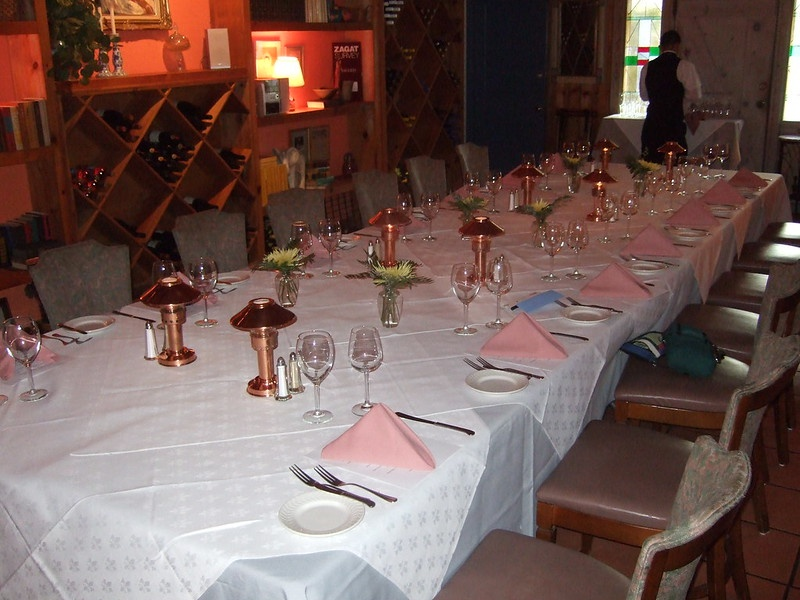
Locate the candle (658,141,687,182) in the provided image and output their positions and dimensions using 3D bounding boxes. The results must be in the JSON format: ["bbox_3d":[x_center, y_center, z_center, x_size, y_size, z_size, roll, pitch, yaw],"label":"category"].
[{"bbox_3d":[2.324,-1.182,4.889,0.218,0.413,0.233,1,-9,25],"label":"candle"}]

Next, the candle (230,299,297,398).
[{"bbox_3d":[-0.488,0.181,2.008,0.216,0.324,0.220,-10,19,-36],"label":"candle"}]

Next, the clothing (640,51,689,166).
[{"bbox_3d":[3.214,-2.284,6.953,0.493,1.953,0.465,3,-17,30],"label":"clothing"}]

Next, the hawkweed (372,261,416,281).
[{"bbox_3d":[-0.032,-0.117,2.338,0.118,0.061,0.122,-2,-1,34],"label":"hawkweed"}]

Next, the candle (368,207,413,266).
[{"bbox_3d":[-0.054,-0.343,3.027,0.257,0.400,0.281,0,9,0],"label":"candle"}]

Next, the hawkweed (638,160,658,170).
[{"bbox_3d":[1.909,-1.030,4.335,0.131,0.065,0.143,9,2,9],"label":"hawkweed"}]

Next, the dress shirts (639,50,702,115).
[{"bbox_3d":[3.275,-2.628,6.945,0.673,0.753,0.404,8,42,27],"label":"dress shirts"}]

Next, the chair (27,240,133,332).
[{"bbox_3d":[-1.696,-0.083,2.996,0.294,0.551,0.295,27,38,25],"label":"chair"}]

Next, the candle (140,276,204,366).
[{"bbox_3d":[-0.878,0.081,2.199,0.199,0.301,0.200,-3,7,-31],"label":"candle"}]

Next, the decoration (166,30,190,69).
[{"bbox_3d":[-1.897,-2.159,4.915,0.193,0.330,0.224,6,18,26],"label":"decoration"}]

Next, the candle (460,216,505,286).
[{"bbox_3d":[0.396,-0.262,2.935,0.276,0.476,0.304,-1,10,1],"label":"candle"}]

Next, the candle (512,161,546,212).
[{"bbox_3d":[0.946,-0.847,4.221,0.194,0.334,0.194,0,3,-37],"label":"candle"}]

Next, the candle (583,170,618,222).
[{"bbox_3d":[1.419,-0.755,4.053,0.208,0.337,0.223,4,-3,36],"label":"candle"}]

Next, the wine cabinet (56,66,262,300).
[{"bbox_3d":[-2.057,-0.913,4.917,0.482,1.978,1.920,12,24,33],"label":"wine cabinet"}]
